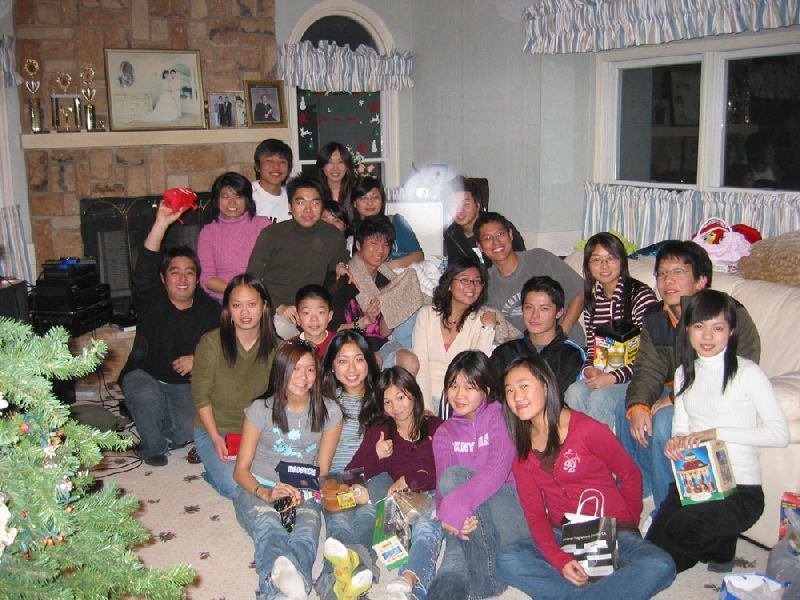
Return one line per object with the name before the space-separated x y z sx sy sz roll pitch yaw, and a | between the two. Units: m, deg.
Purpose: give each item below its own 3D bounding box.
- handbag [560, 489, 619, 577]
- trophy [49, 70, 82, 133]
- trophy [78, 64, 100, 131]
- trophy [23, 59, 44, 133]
handbag | 0.763 0.933 2.526 0.243 0.377 0.123 -7 -36 22
trophy | -2.850 -1.676 5.415 0.248 0.496 0.127 -7 10 -29
trophy | -2.657 -1.736 5.450 0.100 0.441 0.112 9 10 42
trophy | -3.051 -1.704 5.301 0.141 0.613 0.193 -7 10 -29
